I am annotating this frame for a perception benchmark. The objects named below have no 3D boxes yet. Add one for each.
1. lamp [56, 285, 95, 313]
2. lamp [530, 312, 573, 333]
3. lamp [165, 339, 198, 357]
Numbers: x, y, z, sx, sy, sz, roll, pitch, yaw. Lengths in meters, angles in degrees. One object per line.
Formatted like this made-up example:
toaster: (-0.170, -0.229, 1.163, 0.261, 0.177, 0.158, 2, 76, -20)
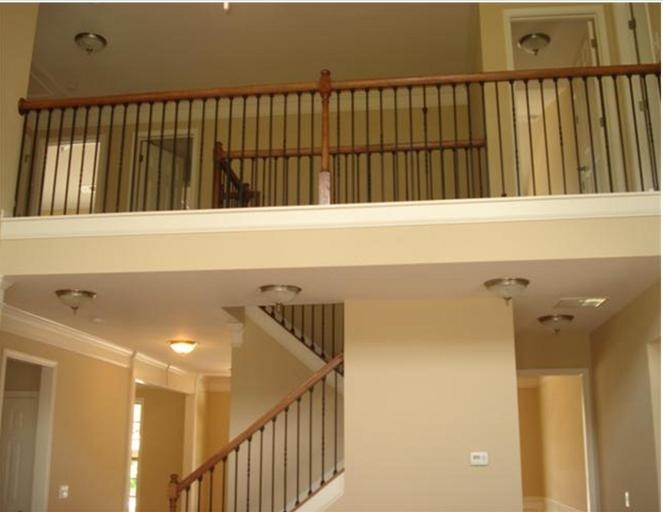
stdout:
lamp: (-2.382, 0.377, 5.645, 0.250, 0.141, 0.263, -6, -13, 8)
lamp: (2.512, 0.719, 6.768, 0.260, 0.129, 0.264, -9, -19, 42)
lamp: (-2.075, 1.220, 8.360, 0.316, 0.146, 0.335, -7, -30, 12)
